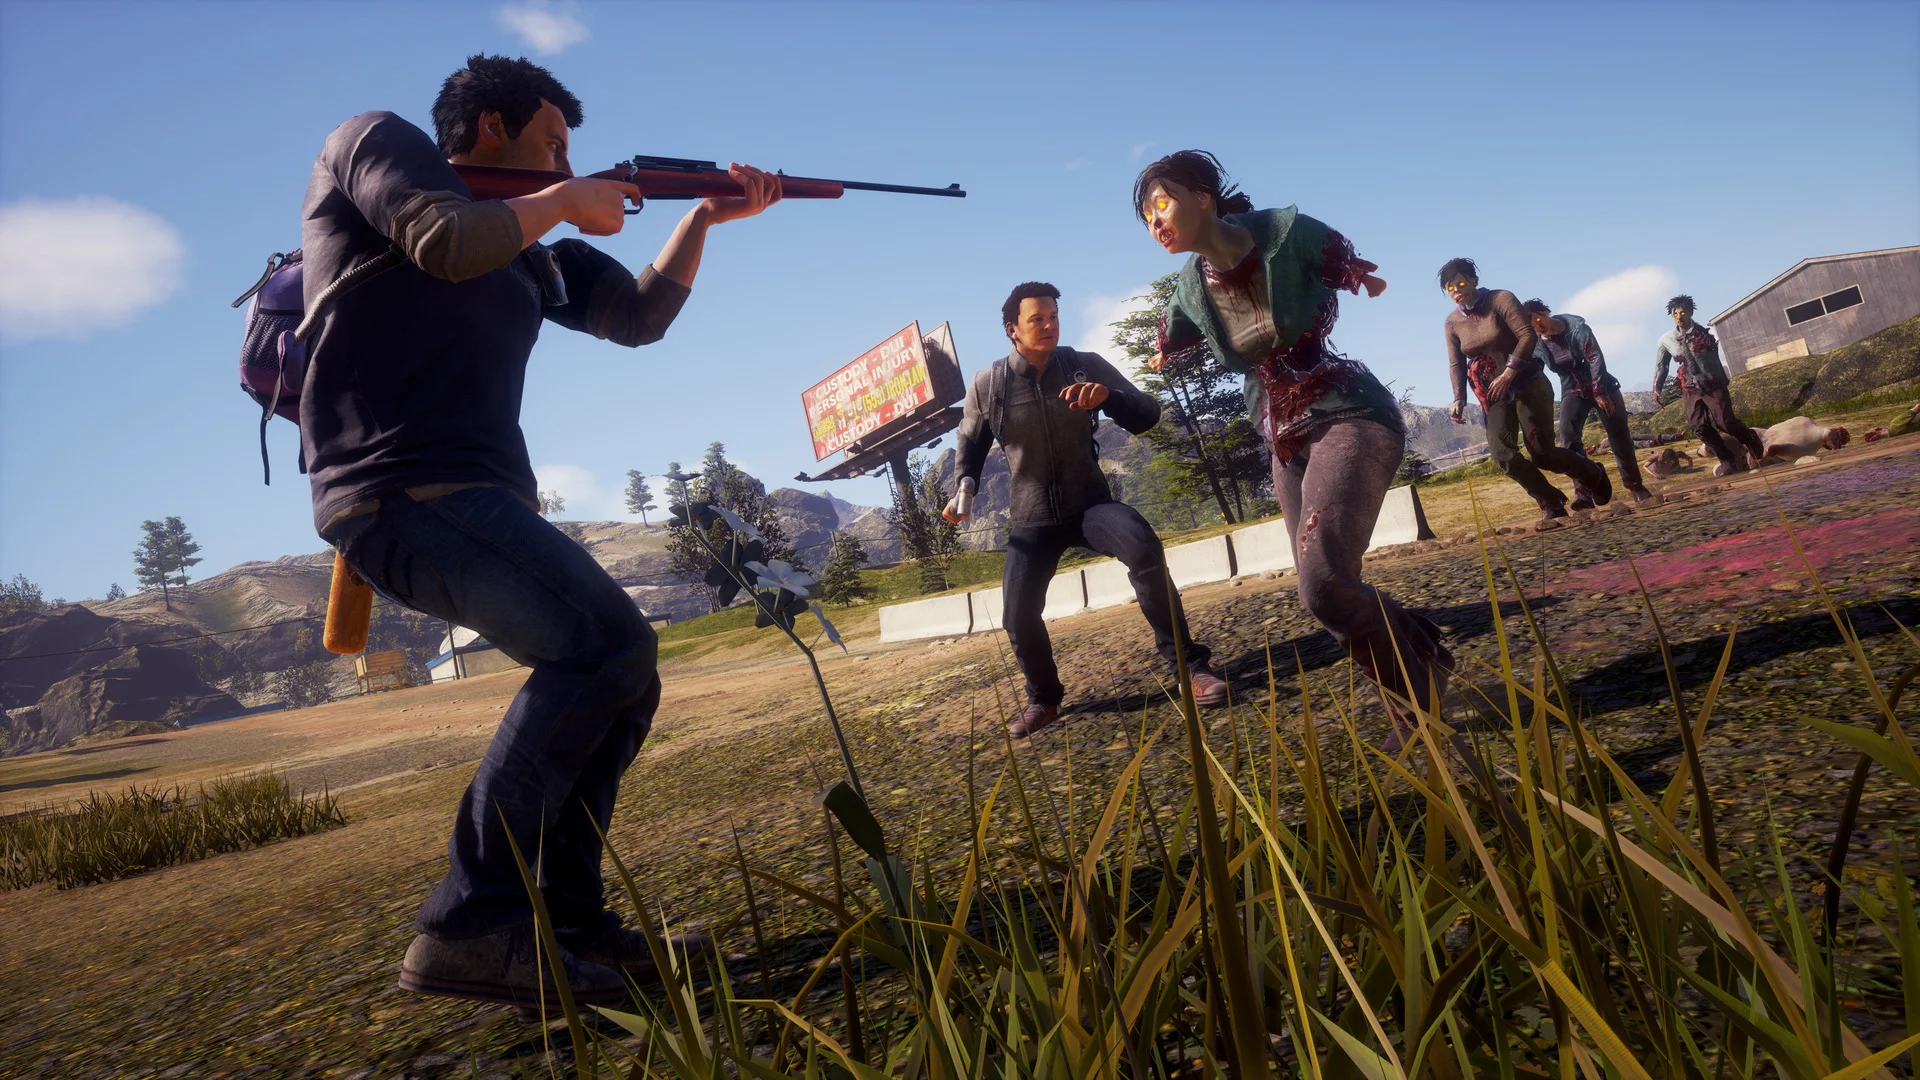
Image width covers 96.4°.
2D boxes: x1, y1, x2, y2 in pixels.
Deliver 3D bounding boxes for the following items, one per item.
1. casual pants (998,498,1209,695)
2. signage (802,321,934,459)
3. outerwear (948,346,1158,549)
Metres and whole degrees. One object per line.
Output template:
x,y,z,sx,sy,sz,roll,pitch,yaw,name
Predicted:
1.159,0.531,7.056,1.673,1.561,1.147,-9,-21,-6,casual pants
-4.578,-8.094,46.544,0.609,6.639,10.231,-15,-1,-38,signage
0.542,-0.605,5.634,1.562,1.294,1.148,-8,-20,2,outerwear
